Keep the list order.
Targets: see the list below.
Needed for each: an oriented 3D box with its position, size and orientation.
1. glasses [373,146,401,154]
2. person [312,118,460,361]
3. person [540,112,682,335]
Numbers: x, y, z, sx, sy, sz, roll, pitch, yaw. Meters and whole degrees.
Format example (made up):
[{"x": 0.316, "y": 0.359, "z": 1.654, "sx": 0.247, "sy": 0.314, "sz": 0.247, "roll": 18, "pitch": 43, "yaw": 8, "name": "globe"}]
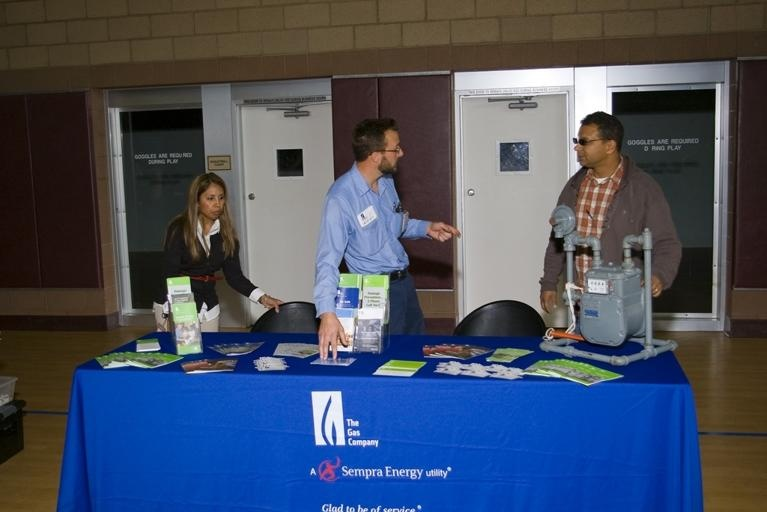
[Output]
[{"x": 0.049, "y": -0.716, "z": 4.406, "sx": 0.093, "sy": 0.053, "sz": 0.214, "roll": 7, "pitch": 18, "yaw": 39, "name": "glasses"}, {"x": 0.083, "y": -0.197, "z": 5.198, "sx": 0.624, "sy": 2.100, "sz": 1.394, "roll": 9, "pitch": 33, "yaw": 22, "name": "person"}, {"x": 1.550, "y": -0.324, "z": 4.454, "sx": 0.914, "sy": 1.290, "sz": 0.798, "roll": 9, "pitch": 19, "yaw": 43, "name": "person"}]
